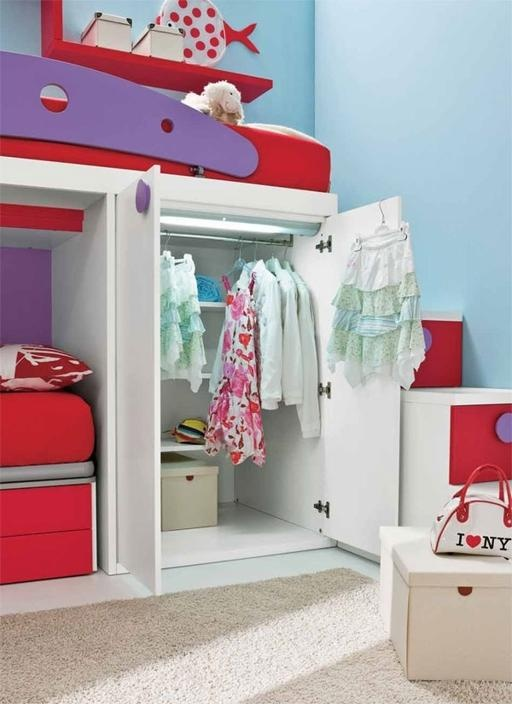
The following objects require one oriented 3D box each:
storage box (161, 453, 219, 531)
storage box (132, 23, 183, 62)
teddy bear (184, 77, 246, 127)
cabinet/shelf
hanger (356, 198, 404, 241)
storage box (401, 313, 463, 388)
[{"bbox_3d":[-0.374,0.643,3.239,0.285,0.305,0.501,-1,10,-14],"label":"storage box"},{"bbox_3d":[-0.461,-1.411,3.028,0.208,0.117,0.198,-5,16,-27],"label":"storage box"},{"bbox_3d":[-0.164,-1.021,2.641,0.236,0.123,0.170,3,8,-1],"label":"teddy bear"},{"bbox_3d":[-0.149,0.078,2.808,1.016,1.525,1.485,0,-1,-21],"label":"cabinet/shelf"},{"bbox_3d":[0.468,-0.484,2.385,0.076,0.145,0.263,0,-1,-30],"label":"hanger"},{"bbox_3d":[0.740,-0.023,2.725,0.130,0.214,0.230,-31,26,-31],"label":"storage box"}]
